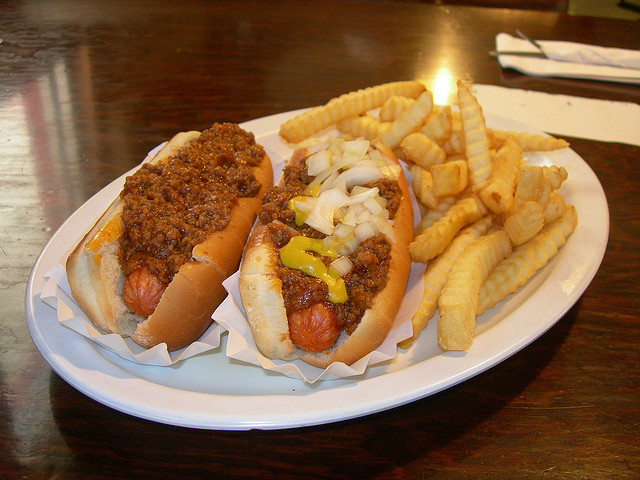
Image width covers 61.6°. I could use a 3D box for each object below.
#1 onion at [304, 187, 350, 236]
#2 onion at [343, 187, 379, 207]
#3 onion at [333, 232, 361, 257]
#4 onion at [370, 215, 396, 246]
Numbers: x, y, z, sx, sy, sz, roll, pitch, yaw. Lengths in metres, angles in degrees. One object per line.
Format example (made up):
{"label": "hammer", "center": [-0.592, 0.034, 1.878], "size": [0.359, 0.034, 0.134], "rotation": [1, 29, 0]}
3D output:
{"label": "onion", "center": [0.037, -0.145, 2.784], "size": [0.170, 0.075, 0.244], "rotation": [22, 74, 8]}
{"label": "onion", "center": [0.226, -0.233, 2.878], "size": [0.247, 0.063, 0.069], "rotation": [-26, 101, -28]}
{"label": "onion", "center": [0.130, 0.027, 2.716], "size": [0.084, 0.055, 0.129], "rotation": [46, 67, -9]}
{"label": "onion", "center": [0.335, -0.067, 2.777], "size": [0.179, 0.044, 0.094], "rotation": [57, 37, -5]}
